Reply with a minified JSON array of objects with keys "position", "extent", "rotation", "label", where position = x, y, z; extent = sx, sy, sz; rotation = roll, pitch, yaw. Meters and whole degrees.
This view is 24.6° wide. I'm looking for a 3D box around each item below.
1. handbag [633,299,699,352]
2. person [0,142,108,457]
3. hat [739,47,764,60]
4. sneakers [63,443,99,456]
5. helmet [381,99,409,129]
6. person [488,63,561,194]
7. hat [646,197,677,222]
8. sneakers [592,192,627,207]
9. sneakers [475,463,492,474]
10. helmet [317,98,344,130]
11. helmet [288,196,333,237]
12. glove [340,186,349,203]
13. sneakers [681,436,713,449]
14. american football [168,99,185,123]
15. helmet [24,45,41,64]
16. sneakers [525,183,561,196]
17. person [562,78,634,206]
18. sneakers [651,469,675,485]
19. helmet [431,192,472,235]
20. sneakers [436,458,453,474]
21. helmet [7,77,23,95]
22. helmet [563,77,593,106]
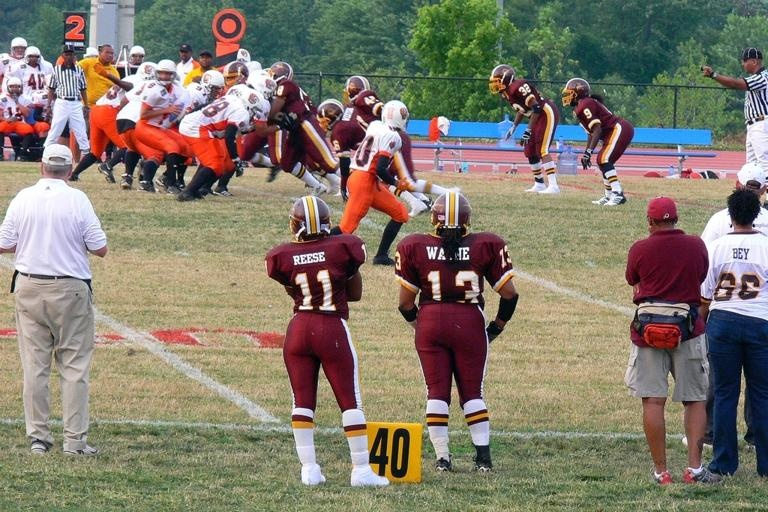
[{"position":[3.681,0.811,22.715],"extent":[0.585,0.709,0.382],"rotation":[1,36,7],"label":"handbag"},{"position":[-4.323,0.510,23.040],"extent":[1.287,3.912,0.729],"rotation":[3,5,-7],"label":"person"},{"position":[6.062,-3.287,28.774],"extent":[0.395,0.209,0.288],"rotation":[17,30,32],"label":"hat"},{"position":[-3.935,2.436,22.945],"extent":[0.475,0.186,0.162],"rotation":[0,-1,-12],"label":"sneakers"},{"position":[0.218,-2.191,27.116],"extent":[0.469,0.412,0.363],"rotation":[-5,13,-35],"label":"helmet"},{"position":[2.670,-2.318,32.208],"extent":[1.290,2.267,0.706],"rotation":[4,5,4],"label":"person"},{"position":[3.694,-0.651,23.066],"extent":[0.290,0.217,0.380],"rotation":[1,18,7],"label":"hat"},{"position":[4.109,-1.040,31.398],"extent":[0.675,0.254,0.217],"rotation":[2,4,8],"label":"sneakers"},{"position":[1.332,2.677,22.917],"extent":[0.192,0.070,0.115],"rotation":[4,-2,8],"label":"sneakers"},{"position":[-0.844,-2.341,28.766],"extent":[0.501,0.448,0.393],"rotation":[11,19,26],"label":"helmet"},{"position":[-0.930,-0.534,22.788],"extent":[0.477,0.445,0.561],"rotation":[-4,11,-9],"label":"helmet"},{"position":[-0.652,-1.060,29.935],"extent":[0.102,0.296,0.134],"rotation":[-1,27,19],"label":"glove"},{"position":[4.231,2.420,23.545],"extent":[0.347,0.132,0.193],"rotation":[-6,-6,31],"label":"sneakers"},{"position":[-3.519,-2.464,30.174],"extent":[0.161,0.395,0.240],"rotation":[29,2,38],"label":"american football"},{"position":[-6.982,-3.990,35.020],"extent":[0.302,0.289,0.379],"rotation":[0,1,-18],"label":"helmet"},{"position":[3.003,-1.257,32.543],"extent":[0.686,0.252,0.216],"rotation":[3,3,9],"label":"sneakers"},{"position":[3.863,-2.058,31.527],"extent":[1.258,2.189,1.382],"rotation":[4,5,6],"label":"person"},{"position":[3.654,2.772,22.764],"extent":[0.182,0.175,0.425],"rotation":[0,5,8],"label":"sneakers"},{"position":[0.919,-0.637,23.067],"extent":[0.451,0.446,0.569],"rotation":[1,15,2],"label":"helmet"},{"position":[0.810,2.647,22.937],"extent":[0.166,0.152,0.355],"rotation":[0,-8,-1],"label":"sneakers"},{"position":[-7.257,-3.319,34.527],"extent":[0.286,0.323,0.346],"rotation":[0,-10,-13],"label":"helmet"},{"position":[3.581,-2.928,31.623],"extent":[0.672,0.505,0.488],"rotation":[0,7,4],"label":"helmet"}]
